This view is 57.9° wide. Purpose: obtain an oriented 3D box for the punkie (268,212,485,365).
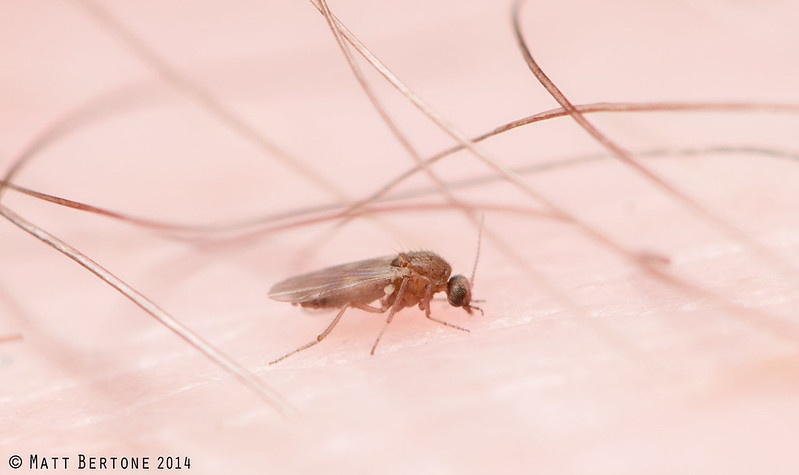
[{"bbox_3d":[-0.120,0.338,4.096,1.174,0.629,0.331,-6,-45,-3],"label":"punkie"}]
